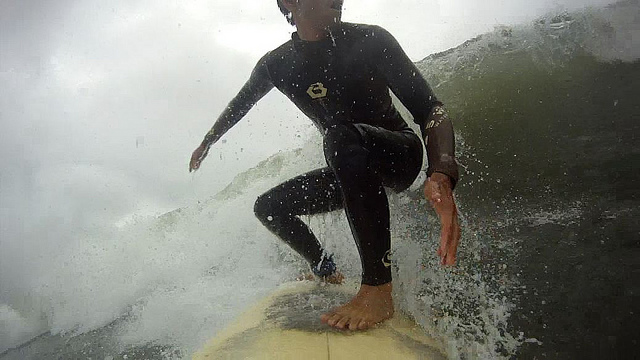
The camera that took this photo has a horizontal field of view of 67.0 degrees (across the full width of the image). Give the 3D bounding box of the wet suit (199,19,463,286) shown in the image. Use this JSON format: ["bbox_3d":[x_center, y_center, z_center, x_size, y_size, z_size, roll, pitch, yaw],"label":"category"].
[{"bbox_3d":[0.105,-0.153,2.710,1.274,1.266,0.938,-20,25,16],"label":"wet suit"}]
